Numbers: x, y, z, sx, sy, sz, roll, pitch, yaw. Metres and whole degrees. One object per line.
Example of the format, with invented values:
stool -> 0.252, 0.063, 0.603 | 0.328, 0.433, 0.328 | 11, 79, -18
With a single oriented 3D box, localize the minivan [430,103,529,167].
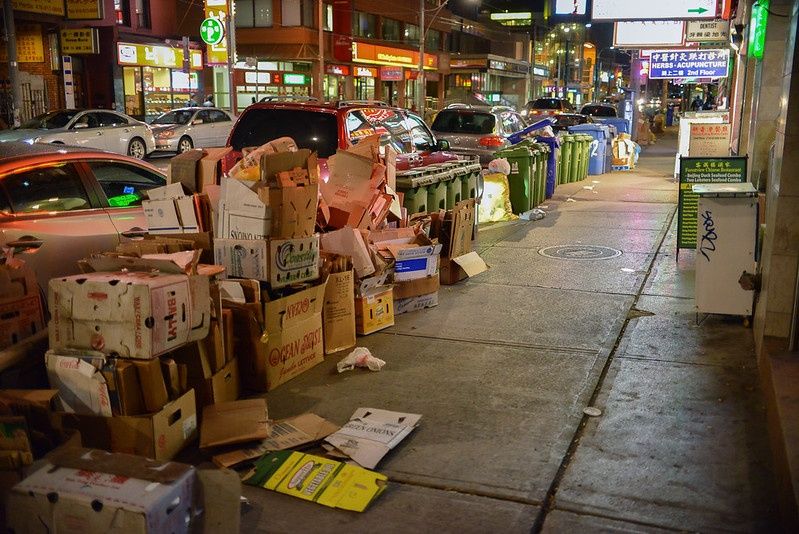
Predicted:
minivan -> 2.404, -4.405, 19.102 | 2.630, 1.950, 5.416 | 9, 23, 12

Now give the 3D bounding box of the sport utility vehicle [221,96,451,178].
sport utility vehicle -> -0.749, -2.273, 11.787 | 2.583, 2.027, 5.011 | 10, 19, 25

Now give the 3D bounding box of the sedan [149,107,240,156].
sedan -> -9.230, -6.175, 25.834 | 2.435, 1.820, 4.620 | 11, 18, 28

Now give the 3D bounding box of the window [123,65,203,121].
window -> -14.379, -10.383, 34.622 | 0.957, 3.685, 7.325 | 4, 12, 22
